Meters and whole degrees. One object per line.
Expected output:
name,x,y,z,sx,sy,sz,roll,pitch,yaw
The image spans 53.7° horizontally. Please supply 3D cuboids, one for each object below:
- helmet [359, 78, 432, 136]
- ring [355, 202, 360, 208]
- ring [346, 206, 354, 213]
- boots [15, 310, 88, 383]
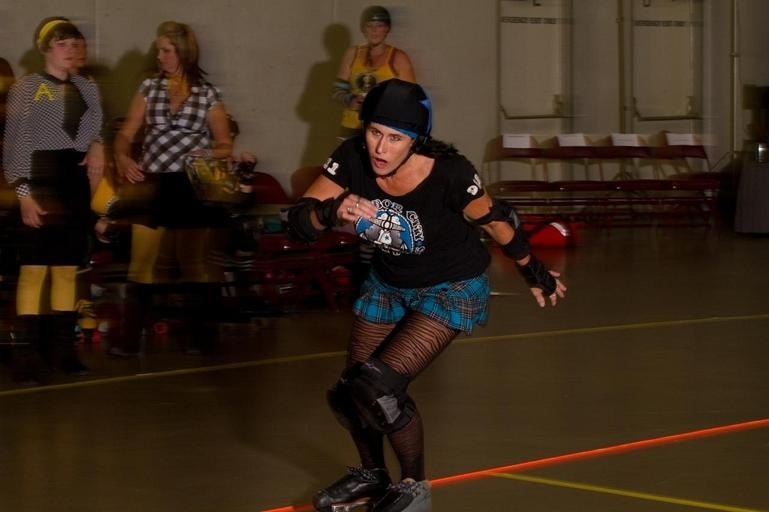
helmet,0.065,-0.622,3.278,0.254,0.244,0.267,14,38,-1
ring,-0.116,-0.216,3.171,0.018,0.024,0.006,2,-1,10
ring,-0.144,-0.194,3.177,0.028,0.023,0.006,6,8,34
boots,-2.127,0.542,4.824,0.463,0.459,0.425,1,-3,-44
